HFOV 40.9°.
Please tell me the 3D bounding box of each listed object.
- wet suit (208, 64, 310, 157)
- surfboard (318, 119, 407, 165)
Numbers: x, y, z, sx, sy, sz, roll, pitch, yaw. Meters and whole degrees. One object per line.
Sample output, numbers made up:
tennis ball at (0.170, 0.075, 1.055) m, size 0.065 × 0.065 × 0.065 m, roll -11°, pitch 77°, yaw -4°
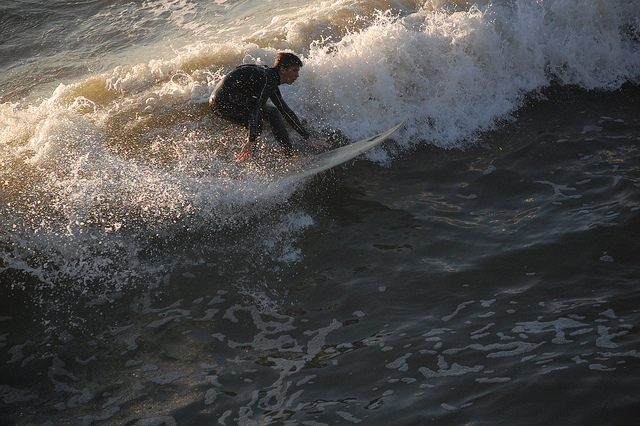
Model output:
wet suit at (-1.184, -1.956, 15.136) m, size 1.229 × 1.732 × 1.555 m, roll -62°, pitch 28°, yaw 20°
surfboard at (0.739, -1.260, 15.952) m, size 2.088 × 0.233 × 0.196 m, roll -22°, pitch -13°, yaw -24°
